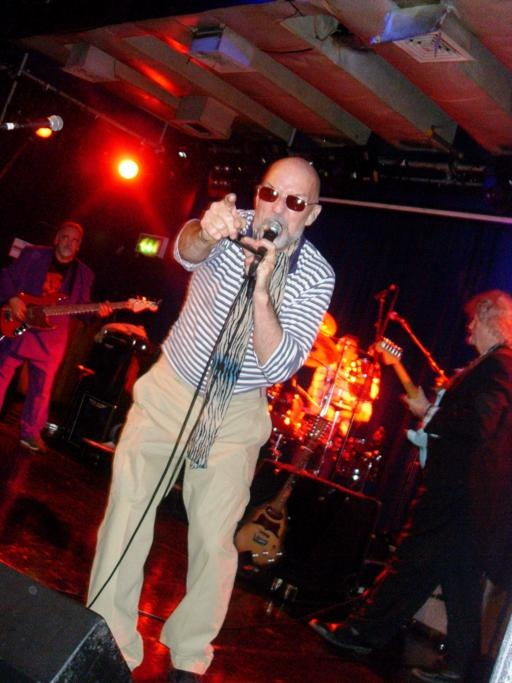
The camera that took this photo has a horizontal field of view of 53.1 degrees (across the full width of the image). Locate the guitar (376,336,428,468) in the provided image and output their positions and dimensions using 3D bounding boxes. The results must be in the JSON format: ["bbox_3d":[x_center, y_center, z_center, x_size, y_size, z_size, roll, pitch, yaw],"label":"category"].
[{"bbox_3d":[1.364,0.588,4.774,1.396,0.220,0.548,60,10,-45],"label":"guitar"}]

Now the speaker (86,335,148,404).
[{"bbox_3d":[-1.514,0.276,5.448,0.766,0.694,0.195,3,-19,41],"label":"speaker"}]

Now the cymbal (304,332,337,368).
[{"bbox_3d":[0.715,0.100,5.556,0.387,0.365,0.089,1,-11,39],"label":"cymbal"}]

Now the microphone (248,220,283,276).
[{"bbox_3d":[0.041,-0.292,1.494,0.049,0.054,0.307,39,38,-9],"label":"microphone"}]
